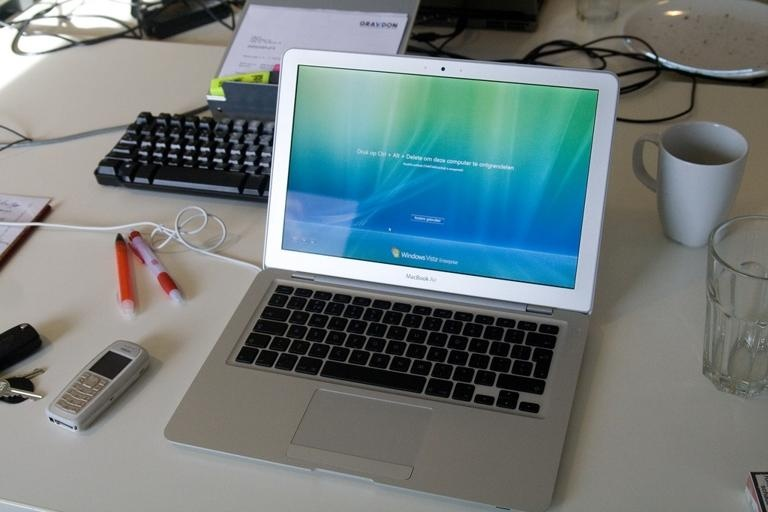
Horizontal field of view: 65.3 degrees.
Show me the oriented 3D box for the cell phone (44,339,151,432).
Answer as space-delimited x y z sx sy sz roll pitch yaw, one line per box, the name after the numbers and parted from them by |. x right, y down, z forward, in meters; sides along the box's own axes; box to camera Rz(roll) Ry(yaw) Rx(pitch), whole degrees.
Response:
-0.377 0.170 0.815 0.073 0.033 0.131 30 54 24 | cell phone
